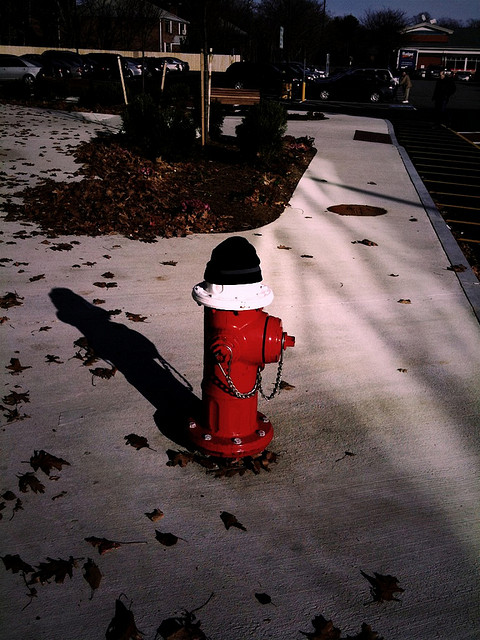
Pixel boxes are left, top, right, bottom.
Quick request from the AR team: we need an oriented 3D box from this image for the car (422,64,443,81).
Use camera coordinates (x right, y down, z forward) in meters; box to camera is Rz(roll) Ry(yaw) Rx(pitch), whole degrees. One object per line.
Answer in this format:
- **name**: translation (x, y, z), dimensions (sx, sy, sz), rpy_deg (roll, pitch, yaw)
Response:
- **car**: translation (22.680, -29.323, 64.573), dimensions (2.204, 1.964, 3.860), rpy_deg (5, 11, 19)

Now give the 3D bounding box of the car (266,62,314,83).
- **car**: translation (2.748, -13.530, 30.124), dimensions (2.236, 0.992, 1.379), rpy_deg (21, 41, 3)

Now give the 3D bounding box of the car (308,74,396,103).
- **car**: translation (6.567, -13.384, 31.428), dimensions (4.605, 1.452, 0.776), rpy_deg (7, 29, 4)

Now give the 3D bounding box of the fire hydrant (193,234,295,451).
- **fire hydrant**: translation (0.029, 0.148, 3.002), dimensions (0.520, 1.183, 0.495), rpy_deg (6, 29, 2)

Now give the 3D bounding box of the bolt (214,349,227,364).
- **bolt**: translation (-0.106, 0.197, 2.918), dimensions (0.075, 0.097, 0.019), rpy_deg (21, 33, 27)

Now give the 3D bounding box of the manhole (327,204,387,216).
- **manhole**: translation (1.924, -1.802, 8.985), dimensions (0.927, 0.069, 0.698), rpy_deg (8, 29, 6)
